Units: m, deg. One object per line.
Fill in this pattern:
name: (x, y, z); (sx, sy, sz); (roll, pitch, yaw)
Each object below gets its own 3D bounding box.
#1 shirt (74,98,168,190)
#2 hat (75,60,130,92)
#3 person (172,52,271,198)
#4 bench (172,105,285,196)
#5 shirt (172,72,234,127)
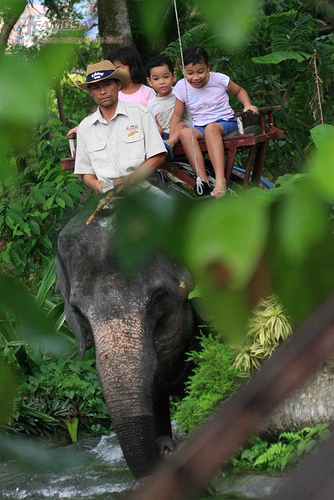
shirt: (-0.323, -0.715, 2.988); (0.682, 0.573, 0.268); (-8, -1, 12)
hat: (-0.115, -0.361, 0.853); (0.101, 0.039, 0.094); (1, 64, 3)
person: (0.233, -0.811, 2.741); (0.624, 0.878, 0.542); (-9, 15, 23)
bench: (0.721, -0.906, 3.898); (0.432, 0.420, 0.602); (-25, 6, 40)
shirt: (0.181, -0.699, 2.037); (0.280, 0.269, 0.161); (-2, 45, 23)
